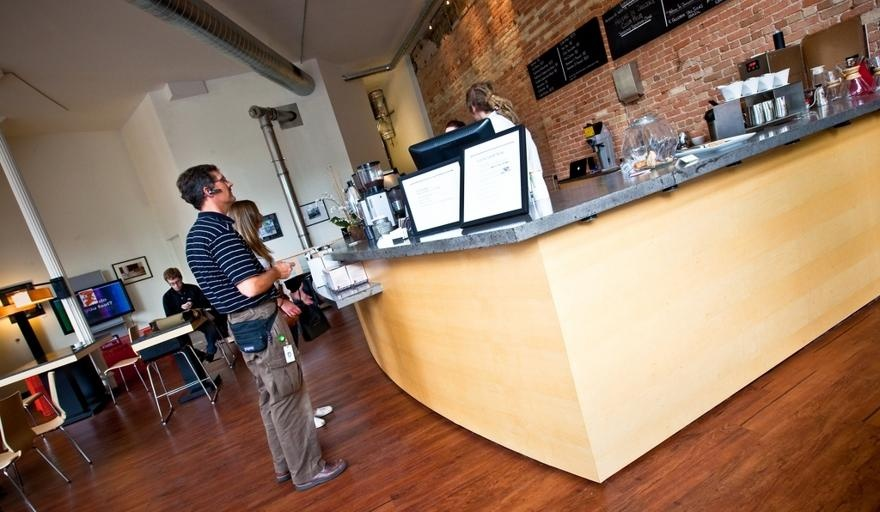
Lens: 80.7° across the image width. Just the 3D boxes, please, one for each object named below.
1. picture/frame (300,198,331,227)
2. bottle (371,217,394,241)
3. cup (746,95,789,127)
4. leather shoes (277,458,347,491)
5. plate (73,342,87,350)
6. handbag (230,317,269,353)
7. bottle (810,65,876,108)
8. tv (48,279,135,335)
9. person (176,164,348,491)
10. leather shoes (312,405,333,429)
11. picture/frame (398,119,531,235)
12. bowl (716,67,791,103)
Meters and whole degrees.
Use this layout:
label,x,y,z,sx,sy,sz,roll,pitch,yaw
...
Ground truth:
label,x,y,z,sx,sy,sz,roll,pitch,yaw
picture/frame,-2.603,-0.902,10.682,0.653,0.568,0.030,-18,8,-40
bottle,-0.594,-0.293,5.431,0.223,0.194,0.214,-5,0,0
cup,3.124,-1.372,4.928,0.323,0.239,0.233,-7,11,29
leather shoes,-1.188,2.056,4.875,0.620,0.240,0.204,-18,8,-16
plate,-6.062,1.515,8.720,0.218,0.072,0.194,-6,8,26
handbag,-1.719,0.722,4.737,0.300,0.249,0.356,-7,-5,33
bottle,3.940,-1.654,5.195,0.597,0.370,0.428,-3,10,6
tv,-7.186,1.042,10.602,1.351,0.755,0.088,-19,10,-32
person,-1.655,0.652,4.846,0.846,2.269,0.521,-8,11,27
leather shoes,-1.310,1.756,5.665,0.145,0.118,0.381,3,17,12
picture/frame,0.195,-0.612,4.426,1.151,0.748,0.331,-6,12,32
bowl,3.122,-1.690,5.172,0.661,0.186,0.449,-16,8,-4
